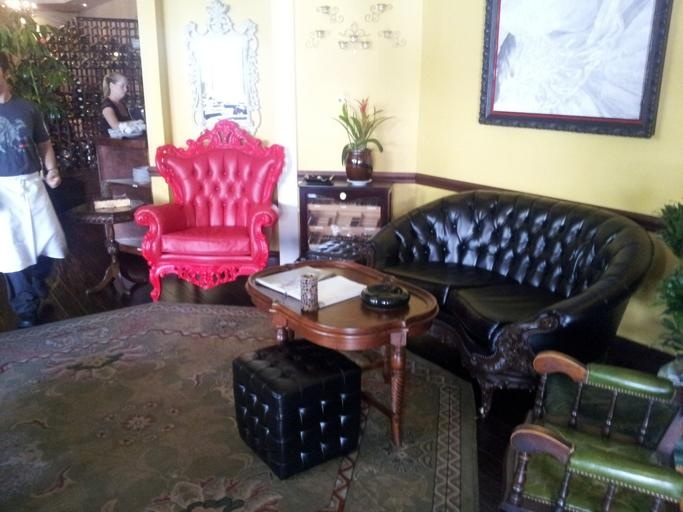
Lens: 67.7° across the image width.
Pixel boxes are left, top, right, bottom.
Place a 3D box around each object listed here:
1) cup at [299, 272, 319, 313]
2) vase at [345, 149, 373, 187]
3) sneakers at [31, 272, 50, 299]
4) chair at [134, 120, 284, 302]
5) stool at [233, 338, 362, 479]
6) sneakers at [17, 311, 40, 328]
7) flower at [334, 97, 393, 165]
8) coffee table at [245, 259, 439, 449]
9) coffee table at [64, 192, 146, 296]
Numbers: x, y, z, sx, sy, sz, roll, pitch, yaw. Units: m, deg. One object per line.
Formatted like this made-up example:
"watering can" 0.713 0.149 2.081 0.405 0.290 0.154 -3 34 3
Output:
"cup" -0.171 0.179 2.671 0.099 0.185 0.154 -2 18 -4
"vase" 0.151 -0.780 4.375 0.254 0.309 0.265 4 25 10
"sneakers" -2.500 0.248 4.246 0.143 0.259 0.117 -8 -2 -38
"chair" -1.071 -0.420 4.312 1.093 1.427 0.806 2 12 9
"stool" -0.239 0.733 2.631 0.482 0.480 0.487 -10 19 -32
"sneakers" -2.377 0.460 3.872 0.126 0.103 0.129 7 2 -3
"flower" 0.175 -1.069 4.363 0.490 0.534 0.358 1 18 6
"coffee table" 0.014 0.558 3.112 0.865 0.796 1.331 -12 16 -33
"coffee table" -2.006 -0.062 4.456 0.437 0.611 0.485 1 7 13
